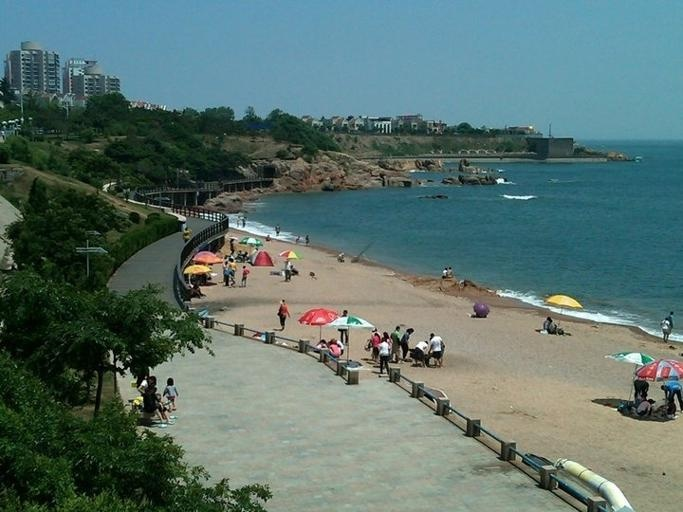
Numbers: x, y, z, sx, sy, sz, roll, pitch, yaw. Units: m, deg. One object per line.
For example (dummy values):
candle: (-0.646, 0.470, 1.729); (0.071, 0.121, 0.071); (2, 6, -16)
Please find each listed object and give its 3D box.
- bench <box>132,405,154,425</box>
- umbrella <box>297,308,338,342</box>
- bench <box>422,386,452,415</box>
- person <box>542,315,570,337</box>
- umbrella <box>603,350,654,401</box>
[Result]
bench: (-7.485, 5.989, 36.431); (0.847, 0.640, 1.028); (-1, 5, -11)
umbrella: (-1.164, 3.404, 45.405); (1.783, 1.471, 1.834); (5, 6, 45)
bench: (3.889, 5.924, 39.441); (0.765, 0.551, 3.756); (-2, -6, 0)
person: (12.418, 4.072, 55.511); (1.559, 0.815, 0.783); (3, 5, 7)
umbrella: (13.364, 5.390, 43.442); (2.673, 2.497, 2.591); (0, 12, 8)
